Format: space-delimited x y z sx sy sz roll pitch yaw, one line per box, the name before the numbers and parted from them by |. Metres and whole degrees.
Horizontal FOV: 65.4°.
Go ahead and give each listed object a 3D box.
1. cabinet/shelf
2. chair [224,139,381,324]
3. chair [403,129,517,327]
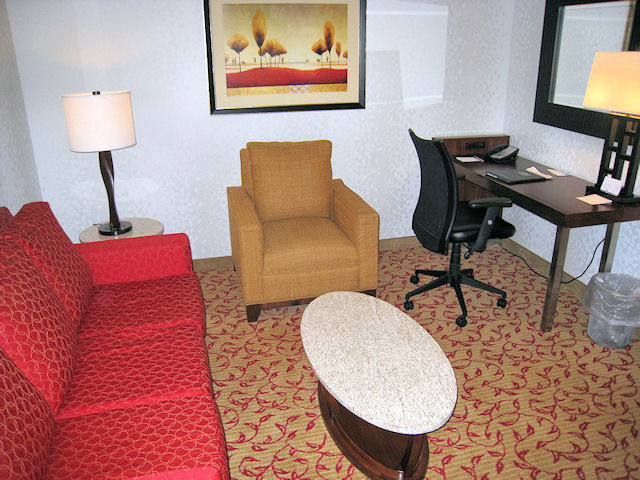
cabinet/shelf | 1.246 -0.539 4.091 0.413 0.477 0.735 -5 27 -6
chair | -0.164 -0.119 4.117 1.075 1.242 0.917 -8 25 -12
chair | 1.181 -0.094 4.155 1.004 1.589 1.051 -10 28 0
